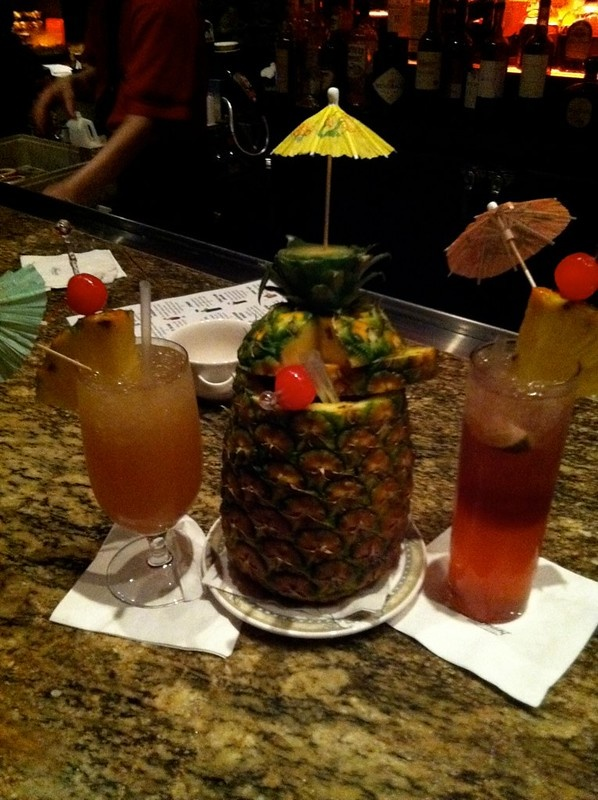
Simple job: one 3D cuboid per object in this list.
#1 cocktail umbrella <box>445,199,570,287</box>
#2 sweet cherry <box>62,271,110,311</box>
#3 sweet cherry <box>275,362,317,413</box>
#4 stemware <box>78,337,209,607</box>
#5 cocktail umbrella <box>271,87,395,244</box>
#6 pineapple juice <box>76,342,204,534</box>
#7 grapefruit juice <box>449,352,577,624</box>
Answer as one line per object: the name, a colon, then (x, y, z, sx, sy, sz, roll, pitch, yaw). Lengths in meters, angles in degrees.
cocktail umbrella: (0.216, -0.179, 0.878, 0.156, 0.129, 0.138, 4, 32, 0)
sweet cherry: (-0.242, -0.133, 0.856, 0.049, 0.054, 0.051, -19, 30, -38)
sweet cherry: (0.001, -0.013, 0.710, 0.029, 0.042, 0.037, -6, 24, 1)
stemware: (-0.163, 0.117, 0.915, 0.133, 0.366, 0.148, 20, 36, 29)
cocktail umbrella: (0.035, -0.243, 0.788, 0.130, 0.172, 0.129, -25, 41, -37)
pineapple juice: (-0.182, 0.063, 0.874, 0.102, 0.241, 0.109, 21, 36, 30)
grapefruit juice: (0.207, 0.107, 0.851, 0.139, 0.313, 0.114, -1, 30, -4)
